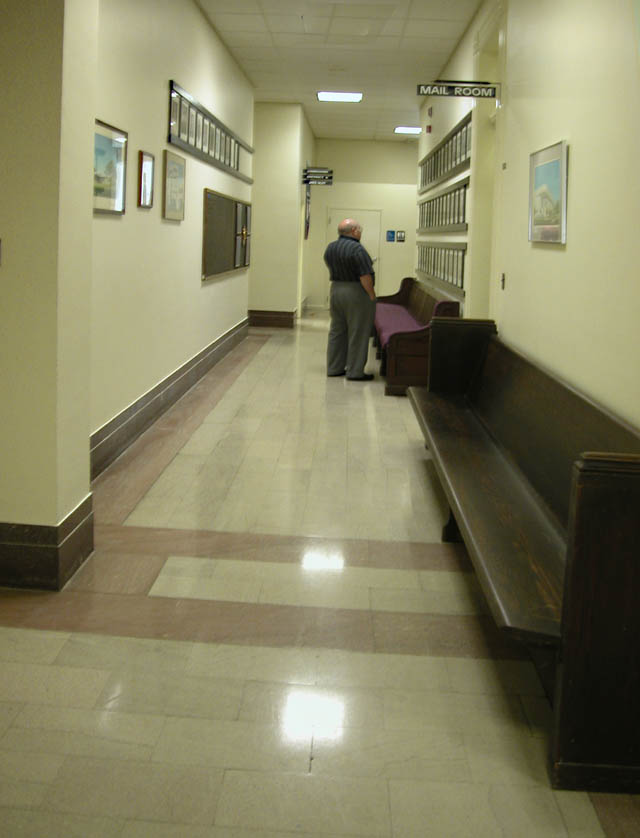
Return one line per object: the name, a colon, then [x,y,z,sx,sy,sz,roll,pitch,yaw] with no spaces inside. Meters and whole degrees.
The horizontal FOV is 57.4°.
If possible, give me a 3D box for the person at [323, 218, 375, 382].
person: [0.356,-1.388,7.025,0.604,1.882,0.963,1,4,3]
